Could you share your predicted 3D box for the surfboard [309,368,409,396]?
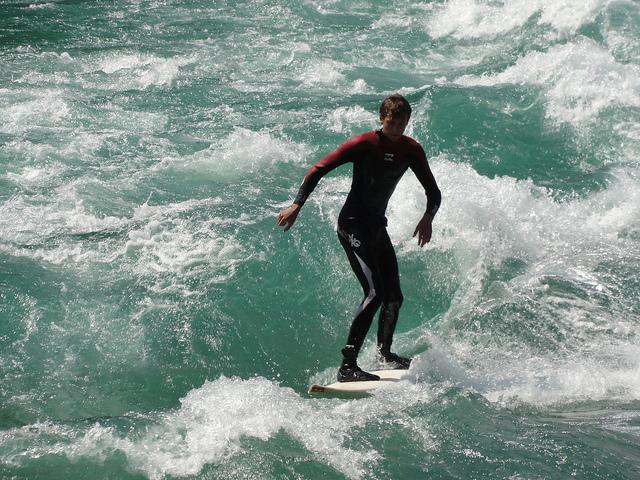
[{"bbox_3d":[0.600,2.038,9.693,1.387,0.190,0.312,-5,46,-9],"label":"surfboard"}]
